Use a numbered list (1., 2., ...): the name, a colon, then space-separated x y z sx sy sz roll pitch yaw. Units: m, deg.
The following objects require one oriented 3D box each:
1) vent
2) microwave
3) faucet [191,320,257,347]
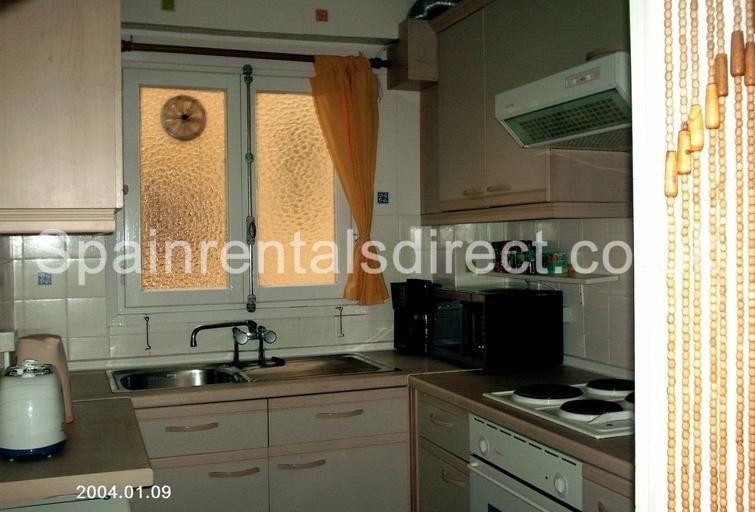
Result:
1. vent: 0.735 -0.535 2.535 0.406 0.108 0.453 12 -8 -27
2. microwave: 0.601 0.359 3.374 0.409 0.317 0.573 2 -3 -17
3. faucet: -0.808 0.407 3.515 0.331 0.134 0.339 -2 0 -17
